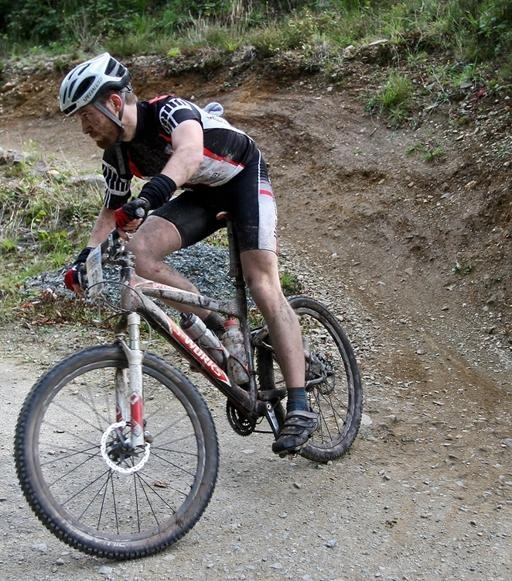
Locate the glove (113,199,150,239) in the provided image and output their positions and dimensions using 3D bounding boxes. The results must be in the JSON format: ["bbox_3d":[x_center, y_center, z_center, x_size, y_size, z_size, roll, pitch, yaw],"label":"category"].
[{"bbox_3d":[-0.518,-0.303,2.644,0.160,0.122,0.065,-44,81,-8],"label":"glove"}]

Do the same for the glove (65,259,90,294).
[{"bbox_3d":[-0.842,-0.057,2.917,0.126,0.116,0.146,6,18,-16],"label":"glove"}]
